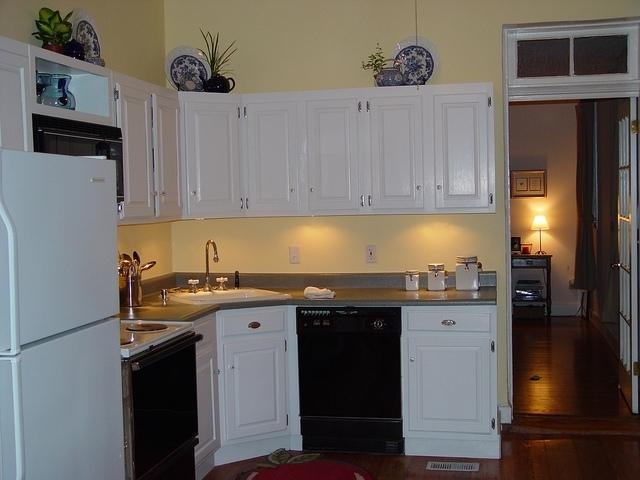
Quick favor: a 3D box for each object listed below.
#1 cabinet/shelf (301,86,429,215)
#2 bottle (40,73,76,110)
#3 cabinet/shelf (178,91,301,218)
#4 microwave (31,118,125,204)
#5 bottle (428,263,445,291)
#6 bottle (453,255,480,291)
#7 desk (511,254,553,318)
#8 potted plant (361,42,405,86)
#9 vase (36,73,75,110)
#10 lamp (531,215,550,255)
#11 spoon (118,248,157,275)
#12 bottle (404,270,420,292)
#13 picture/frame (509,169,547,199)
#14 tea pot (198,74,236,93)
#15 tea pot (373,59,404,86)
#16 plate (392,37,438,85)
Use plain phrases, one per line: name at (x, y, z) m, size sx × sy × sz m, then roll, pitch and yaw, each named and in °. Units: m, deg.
cabinet/shelf at (0.372, -0.691, 4.147) m, size 0.914 × 0.933 × 0.389 m, roll -1°, pitch 1°, yaw 8°
bottle at (-1.477, -0.815, 3.063) m, size 0.217 × 0.218 × 0.167 m, roll 7°, pitch 5°, yaw 42°
cabinet/shelf at (-0.630, -0.673, 4.212) m, size 0.908 × 0.916 × 0.360 m, roll -1°, pitch -3°, yaw -3°
microwave at (-1.192, -0.392, 2.664) m, size 0.270 × 0.502 × 0.577 m, roll 1°, pitch 1°, yaw 12°
bottle at (0.900, 0.295, 4.258) m, size 0.120 × 0.191 × 0.195 m, roll 0°, pitch 3°, yaw 9°
bottle at (1.155, 0.255, 4.279) m, size 0.192 × 0.252 × 0.158 m, roll 0°, pitch 7°, yaw 11°
desk at (3.034, 0.654, 7.884) m, size 0.555 × 0.962 × 0.719 m, roll 1°, pitch 7°, yaw 23°
potted plant at (0.492, -1.340, 4.264) m, size 0.380 × 0.382 × 0.279 m, roll -3°, pitch 9°, yaw -6°
vase at (-1.476, -0.819, 3.055) m, size 0.221 × 0.224 × 0.168 m, roll 7°, pitch 5°, yaw 42°
lamp at (3.194, -0.087, 7.991) m, size 0.202 × 0.536 × 0.265 m, roll 1°, pitch 7°, yaw 22°
spoon at (-1.332, 0.161, 3.941) m, size 0.181 × 0.074 × 0.186 m, roll 12°, pitch 4°, yaw 23°
bottle at (0.720, 0.318, 4.305) m, size 0.093 × 0.140 × 0.114 m, roll 1°, pitch 7°, yaw 20°
picture/frame at (3.044, -0.800, 8.001) m, size 0.649 × 0.581 × 0.067 m, roll 1°, pitch 5°, yaw 11°
tea pot at (-0.802, -1.213, 4.295) m, size 0.244 × 0.157 × 0.188 m, roll -3°, pitch 7°, yaw -9°
tea pot at (0.516, -1.285, 4.252) m, size 0.216 × 0.166 × 0.235 m, roll -1°, pitch 5°, yaw 0°
plate at (0.698, -1.376, 4.162) m, size 0.340 × 0.359 × 0.084 m, roll 2°, pitch 1°, yaw 6°
